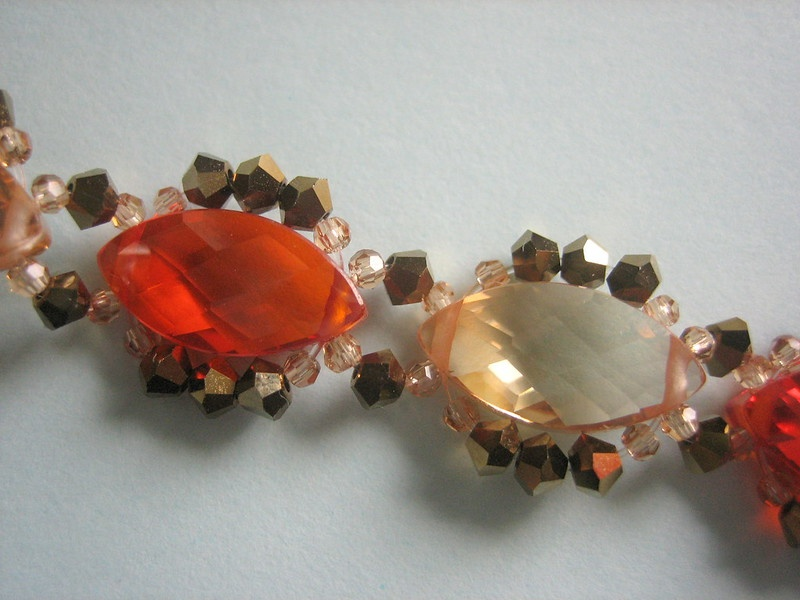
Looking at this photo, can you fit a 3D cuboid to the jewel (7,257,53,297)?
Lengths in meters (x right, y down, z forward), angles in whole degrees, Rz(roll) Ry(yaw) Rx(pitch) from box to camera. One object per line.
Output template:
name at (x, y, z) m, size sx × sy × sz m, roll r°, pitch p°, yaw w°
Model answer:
jewel at (-0.560, -0.036, 1.331) m, size 0.044 × 0.056 × 0.058 m, roll 37°, pitch 7°, yaw 4°

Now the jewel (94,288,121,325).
jewel at (-0.470, 0.010, 1.354) m, size 0.051 × 0.046 × 0.051 m, roll -6°, pitch -7°, yaw 14°

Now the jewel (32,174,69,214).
jewel at (-0.527, -0.163, 1.306) m, size 0.053 × 0.059 × 0.041 m, roll 10°, pitch 27°, yaw 5°

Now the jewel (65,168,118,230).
jewel at (-0.481, -0.153, 1.333) m, size 0.080 × 0.087 × 0.051 m, roll 21°, pitch -4°, yaw -16°
